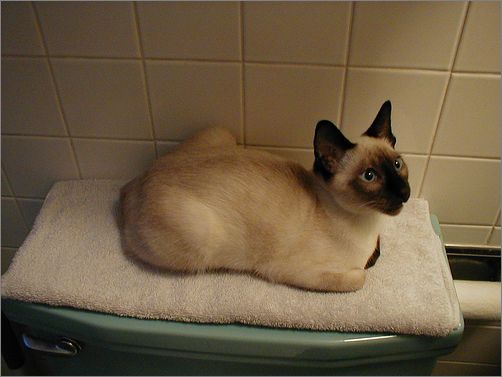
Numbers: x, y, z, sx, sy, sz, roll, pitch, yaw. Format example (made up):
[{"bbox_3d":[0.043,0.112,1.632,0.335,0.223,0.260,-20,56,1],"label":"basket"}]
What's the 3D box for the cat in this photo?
[{"bbox_3d":[0.027,0.028,0.975,0.510,0.317,0.340,8,40,1],"label":"cat"}]
